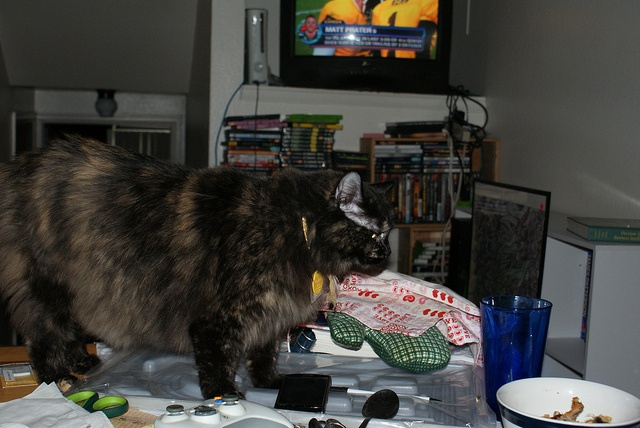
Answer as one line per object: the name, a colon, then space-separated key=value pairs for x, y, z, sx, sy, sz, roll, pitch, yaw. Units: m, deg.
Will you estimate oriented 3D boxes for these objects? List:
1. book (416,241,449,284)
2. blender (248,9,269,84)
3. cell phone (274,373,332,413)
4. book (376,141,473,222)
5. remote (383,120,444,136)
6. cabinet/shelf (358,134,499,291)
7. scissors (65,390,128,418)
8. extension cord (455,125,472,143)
book: x=0.718 y=0.302 z=3.498 sx=0.198 sy=0.249 sz=0.269 roll=-2 pitch=6 yaw=-37
blender: x=-0.371 y=-0.975 z=3.351 sx=0.124 sy=0.421 sz=0.062 roll=1 pitch=5 yaw=-10
cell phone: x=-0.045 y=0.482 z=1.547 sx=0.138 sy=0.065 sz=0.111 roll=2 pitch=5 yaw=6
book: x=0.609 y=-0.215 z=3.334 sx=0.468 sy=0.447 sz=0.170 roll=-1 pitch=5 yaw=-5
remote: x=0.594 y=-0.528 z=3.575 sx=0.369 sy=0.106 sz=0.094 roll=2 pitch=5 yaw=3
cabinet/shelf: x=0.699 y=-0.029 z=3.793 sx=0.724 sy=1.062 sz=0.328 roll=0 pitch=23 yaw=2
scissors: x=-0.578 y=0.492 z=1.493 sx=0.111 sy=0.025 sz=0.069 roll=6 pitch=11 yaw=7
extension cord: x=0.880 y=-0.499 z=3.541 sx=0.088 sy=0.041 sz=0.122 roll=16 pitch=-9 yaw=6
